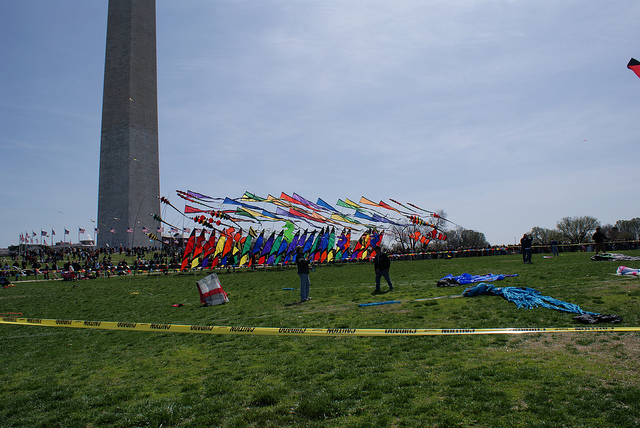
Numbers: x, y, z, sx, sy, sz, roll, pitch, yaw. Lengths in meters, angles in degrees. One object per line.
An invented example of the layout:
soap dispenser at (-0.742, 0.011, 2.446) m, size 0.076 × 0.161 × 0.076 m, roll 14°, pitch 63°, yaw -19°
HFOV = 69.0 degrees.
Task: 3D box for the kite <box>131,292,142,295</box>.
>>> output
kite at (-11.112, 4.826, 28.472) m, size 0.520 × 0.098 × 0.125 m, roll -2°, pitch -7°, yaw 16°

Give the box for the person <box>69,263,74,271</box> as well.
person at (-22.546, 4.793, 42.618) m, size 0.340 × 0.729 × 1.411 m, roll 1°, pitch -9°, yaw -26°

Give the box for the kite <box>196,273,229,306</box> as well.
kite at (-5.232, 3.627, 22.683) m, size 1.457 × 1.495 × 0.847 m, roll -4°, pitch -9°, yaw 8°

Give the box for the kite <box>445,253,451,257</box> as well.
kite at (14.703, 4.629, 53.904) m, size 0.602 × 0.139 × 0.597 m, roll -3°, pitch -37°, yaw 6°

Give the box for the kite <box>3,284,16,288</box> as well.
kite at (-24.281, 5.628, 36.628) m, size 0.443 × 0.184 × 0.728 m, roll 2°, pitch 2°, yaw -27°

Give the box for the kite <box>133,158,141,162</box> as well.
kite at (-35.796, -10.846, 91.372) m, size 0.812 × 0.668 × 2.768 m, roll -9°, pitch 0°, yaw -14°

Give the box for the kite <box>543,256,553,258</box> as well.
kite at (17.972, 3.382, 37.041) m, size 0.749 × 0.116 × 0.153 m, roll -5°, pitch 26°, yaw 38°
